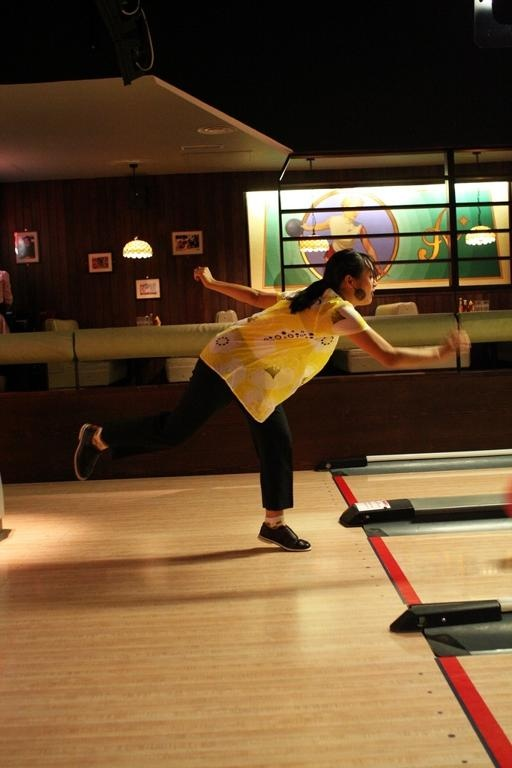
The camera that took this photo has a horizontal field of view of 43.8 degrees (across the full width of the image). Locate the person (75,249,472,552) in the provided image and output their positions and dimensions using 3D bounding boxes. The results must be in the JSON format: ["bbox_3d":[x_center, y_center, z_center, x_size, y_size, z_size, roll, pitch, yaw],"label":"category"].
[{"bbox_3d":[0.083,0.082,2.125,1.248,0.981,0.291,-2,4,26],"label":"person"}]

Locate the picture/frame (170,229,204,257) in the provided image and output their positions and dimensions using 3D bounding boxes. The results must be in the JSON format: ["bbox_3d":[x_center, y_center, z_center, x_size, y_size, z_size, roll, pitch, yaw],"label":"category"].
[{"bbox_3d":[-0.888,-1.874,8.384,0.374,0.277,0.024,1,5,-3],"label":"picture/frame"}]

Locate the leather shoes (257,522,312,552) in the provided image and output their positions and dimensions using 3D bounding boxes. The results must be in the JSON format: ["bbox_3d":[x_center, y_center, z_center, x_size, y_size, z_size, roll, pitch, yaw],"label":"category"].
[{"bbox_3d":[0.101,0.531,2.246,0.186,0.075,0.069,13,12,29],"label":"leather shoes"}]

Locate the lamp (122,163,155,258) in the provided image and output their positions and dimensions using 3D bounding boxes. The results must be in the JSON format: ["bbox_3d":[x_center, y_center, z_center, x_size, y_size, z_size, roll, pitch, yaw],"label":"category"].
[{"bbox_3d":[-1.543,-2.164,8.118,0.415,1.120,0.726,-5,3,-9],"label":"lamp"}]

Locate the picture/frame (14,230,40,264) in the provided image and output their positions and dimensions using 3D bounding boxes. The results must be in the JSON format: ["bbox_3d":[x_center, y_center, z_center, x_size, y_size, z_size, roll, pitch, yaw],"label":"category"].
[{"bbox_3d":[-3.035,-1.829,8.482,0.475,0.591,0.064,0,4,-4],"label":"picture/frame"}]

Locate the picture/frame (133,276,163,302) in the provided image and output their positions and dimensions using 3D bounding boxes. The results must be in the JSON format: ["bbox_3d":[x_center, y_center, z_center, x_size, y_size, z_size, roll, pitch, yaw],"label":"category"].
[{"bbox_3d":[-1.423,-1.287,8.476,0.367,0.293,0.027,0,5,-3],"label":"picture/frame"}]
